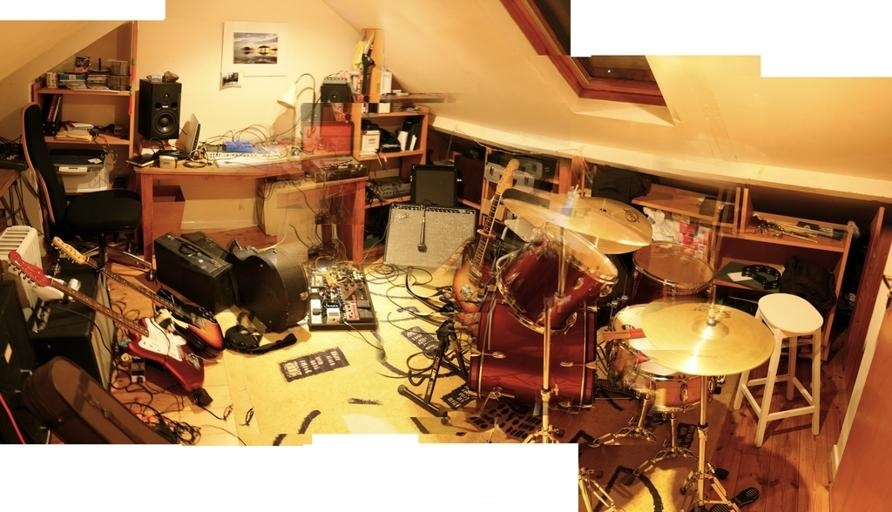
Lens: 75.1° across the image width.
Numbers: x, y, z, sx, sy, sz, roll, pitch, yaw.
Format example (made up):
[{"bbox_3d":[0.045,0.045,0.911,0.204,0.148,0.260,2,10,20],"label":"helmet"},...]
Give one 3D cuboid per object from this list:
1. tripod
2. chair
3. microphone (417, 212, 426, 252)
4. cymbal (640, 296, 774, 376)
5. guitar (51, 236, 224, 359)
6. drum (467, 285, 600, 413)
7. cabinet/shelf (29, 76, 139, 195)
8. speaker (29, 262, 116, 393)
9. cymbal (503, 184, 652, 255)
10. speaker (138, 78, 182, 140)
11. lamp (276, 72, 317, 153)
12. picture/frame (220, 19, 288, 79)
[{"bbox_3d":[1.075,0.845,3.696,1.552,1.094,1.255,-2,4,-25],"label":"tripod"},{"bbox_3d":[-2.818,-0.488,4.662,0.946,1.256,0.708,-1,27,-33],"label":"chair"},{"bbox_3d":[-0.203,-0.215,5.002,0.082,0.353,0.129,0,20,4],"label":"microphone"},{"bbox_3d":[1.347,0.498,3.046,0.629,0.422,0.477,5,20,17],"label":"cymbal"},{"bbox_3d":[-2.201,0.319,4.197,1.204,0.136,0.421,30,18,-21],"label":"guitar"},{"bbox_3d":[0.659,0.695,4.120,0.771,0.796,0.790,11,53,10],"label":"drum"},{"bbox_3d":[-3.067,-1.045,4.932,0.653,0.715,0.255,-2,31,-34],"label":"cabinet/shelf"},{"bbox_3d":[-2.294,0.444,3.544,0.288,0.603,0.667,-7,41,2],"label":"speaker"},{"bbox_3d":[0.783,-0.098,3.536,0.668,0.171,0.609,8,19,-11],"label":"cymbal"},{"bbox_3d":[-2.435,-1.227,4.886,0.447,0.504,0.189,7,22,22],"label":"speaker"},{"bbox_3d":[-1.393,-1.369,5.415,0.449,0.643,0.212,-9,22,-21],"label":"lamp"},{"bbox_3d":[-1.740,-1.872,5.191,0.649,0.462,0.031,-6,17,-31],"label":"picture/frame"}]
